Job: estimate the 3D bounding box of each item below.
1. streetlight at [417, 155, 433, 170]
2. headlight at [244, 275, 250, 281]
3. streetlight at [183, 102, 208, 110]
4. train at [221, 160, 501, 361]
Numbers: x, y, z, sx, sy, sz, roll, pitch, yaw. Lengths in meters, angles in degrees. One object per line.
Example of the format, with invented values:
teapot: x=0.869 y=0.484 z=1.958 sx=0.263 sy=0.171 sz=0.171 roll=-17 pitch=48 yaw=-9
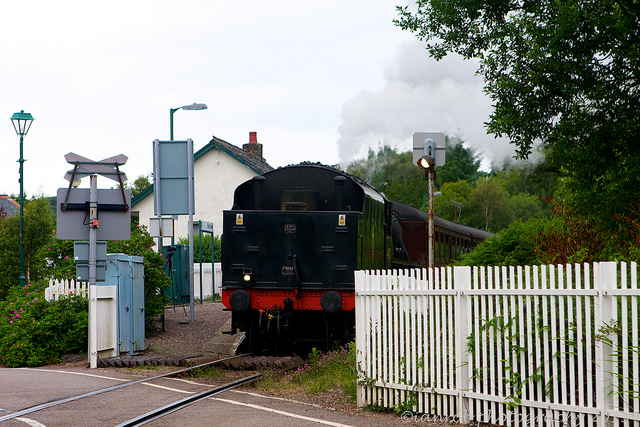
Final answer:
streetlight: x=2.277 y=-1.073 z=17.554 sx=0.279 sy=0.329 sz=0.267 roll=-9 pitch=11 yaw=-43
headlight: x=-1.664 y=1.479 z=18.441 sx=0.124 sy=0.126 sz=0.046 roll=0 pitch=3 yaw=12
streetlight: x=-4.672 y=-3.899 z=29.878 sx=0.827 sy=0.218 sz=0.821 roll=0 pitch=3 yaw=-2
train: x=0.567 y=1.002 z=24.890 sx=3.762 sy=4.444 sz=14.197 roll=0 pitch=0 yaw=16
